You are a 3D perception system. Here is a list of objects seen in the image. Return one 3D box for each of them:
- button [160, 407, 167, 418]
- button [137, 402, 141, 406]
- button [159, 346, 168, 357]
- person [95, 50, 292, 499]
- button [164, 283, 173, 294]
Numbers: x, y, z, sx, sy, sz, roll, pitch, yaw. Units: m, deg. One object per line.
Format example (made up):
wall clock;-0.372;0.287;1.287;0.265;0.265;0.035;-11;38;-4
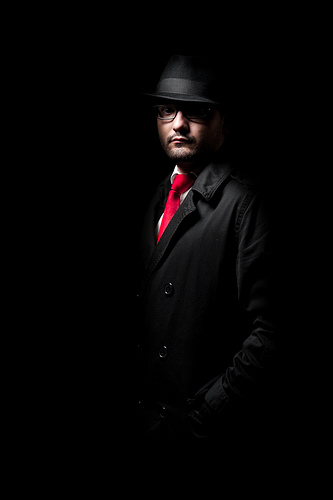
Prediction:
button;-0.013;0.647;2.031;0.037;0.042;0.017;1;-8;38
button;-0.118;0.643;2.127;0.013;0.015;0.008;10;-10;-39
button;-0.012;0.394;1.974;0.024;0.041;0.009;4;6;24
person;0.062;0.137;2.042;0.845;1.888;0.434;5;-7;9
button;0.008;0.147;1.947;0.029;0.036;0.009;2;1;39
